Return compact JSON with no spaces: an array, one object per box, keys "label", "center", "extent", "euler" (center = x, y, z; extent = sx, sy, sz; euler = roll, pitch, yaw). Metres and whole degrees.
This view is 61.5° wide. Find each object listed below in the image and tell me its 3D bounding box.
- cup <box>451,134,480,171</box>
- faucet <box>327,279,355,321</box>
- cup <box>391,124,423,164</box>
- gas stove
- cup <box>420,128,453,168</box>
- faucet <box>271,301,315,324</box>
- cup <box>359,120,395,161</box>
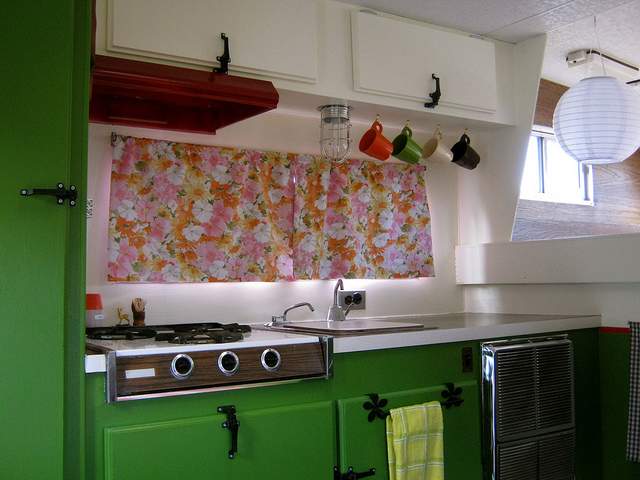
[{"label":"cup","center":[0.924,-0.569,3.398],"extent":[0.133,0.226,0.162],"euler":[1,-40,33]},{"label":"faucet","center":[0.121,0.343,2.998],"extent":[0.134,0.177,0.323],"euler":[3,2,4]},{"label":"cup","center":[0.480,-0.531,3.073],"extent":[0.151,0.235,0.143],"euler":[10,7,-1]},{"label":"gas stove","center":[-0.504,0.405,2.271],"extent":[0.898,0.053,0.560],"euler":[3,3,-25]},{"label":"cup","center":[0.703,-0.544,3.257],"extent":[0.152,0.244,0.148],"euler":[0,3,0]},{"label":"faucet","center":[-0.178,0.405,2.859],"extent":[0.155,0.074,0.162],"euler":[-2,-4,27]},{"label":"cup","center":[0.299,-0.513,2.901],"extent":[0.152,0.245,0.147],"euler":[5,-5,0]}]
